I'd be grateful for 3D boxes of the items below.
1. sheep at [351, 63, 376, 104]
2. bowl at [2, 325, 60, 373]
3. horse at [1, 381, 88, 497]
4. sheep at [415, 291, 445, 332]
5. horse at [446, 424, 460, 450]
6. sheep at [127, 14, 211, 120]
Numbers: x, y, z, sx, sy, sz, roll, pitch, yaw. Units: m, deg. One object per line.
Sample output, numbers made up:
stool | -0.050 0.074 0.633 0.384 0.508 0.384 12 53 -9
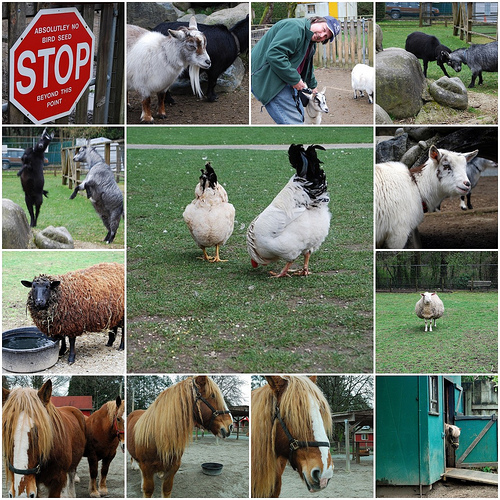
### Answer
sheep | 1.858 -2.812 14.394 0.271 0.471 0.794 -12 26 -14
bowl | -2.762 1.250 11.004 0.616 0.242 0.644 4 15 -1
horse | -2.406 2.269 10.204 0.415 1.472 1.068 0 4 31
sheep | 2.588 0.899 12.887 0.376 0.523 0.521 0 4 27
horse | 2.838 2.648 12.353 0.208 0.409 0.335 -1 8 -5
sheep | -1.198 -2.583 12.424 1.096 1.410 0.579 -2 3 -6
